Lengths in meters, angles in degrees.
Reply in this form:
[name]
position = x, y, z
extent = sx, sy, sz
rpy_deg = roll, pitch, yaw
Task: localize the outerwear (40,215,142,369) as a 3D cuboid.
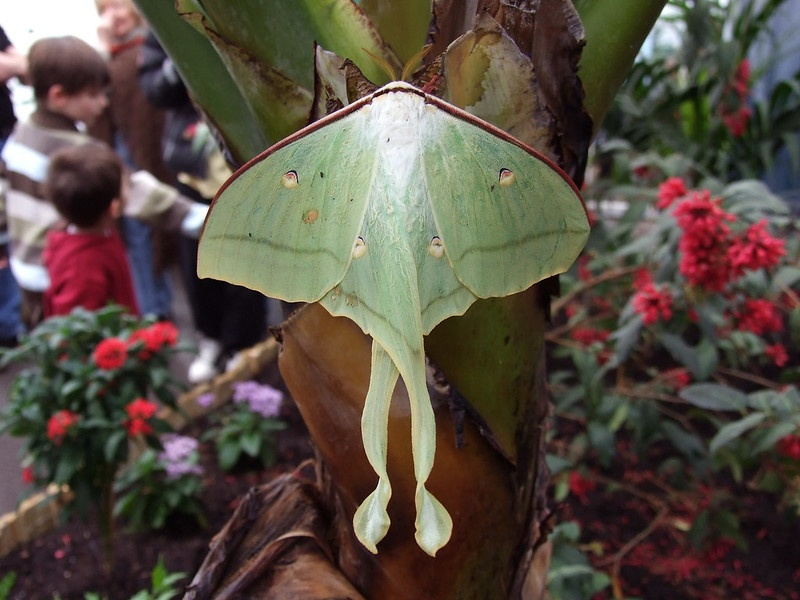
[outerwear]
position = -0.824, -0.068, 2.045
extent = 0.172, 0.360, 0.340
rpy_deg = 15, 27, 23
